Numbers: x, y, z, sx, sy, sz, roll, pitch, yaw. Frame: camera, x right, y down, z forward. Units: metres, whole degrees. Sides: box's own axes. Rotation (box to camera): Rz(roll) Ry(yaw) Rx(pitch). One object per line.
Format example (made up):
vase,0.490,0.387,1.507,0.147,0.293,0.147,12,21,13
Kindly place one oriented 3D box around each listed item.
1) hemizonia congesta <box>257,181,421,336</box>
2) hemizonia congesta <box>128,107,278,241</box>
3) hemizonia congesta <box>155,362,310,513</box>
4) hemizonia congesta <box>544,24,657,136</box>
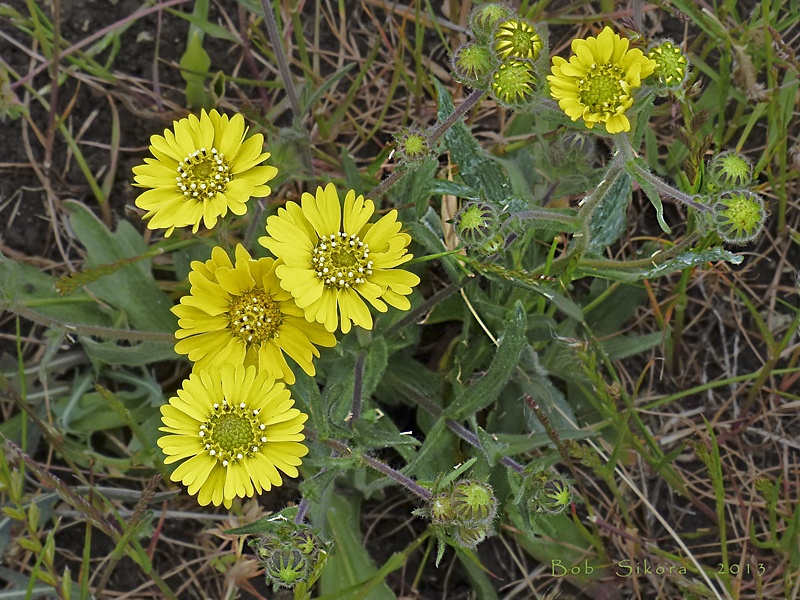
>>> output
hemizonia congesta,-0.255,-0.192,3.259,0.612,0.180,0.657,-23,87,-6
hemizonia congesta,-0.857,-0.555,3.464,0.506,0.772,0.667,-2,103,-12
hemizonia congesta,-0.726,0.572,3.230,0.647,0.178,0.592,-18,86,-6
hemizonia congesta,0.861,-0.956,3.198,0.401,0.201,0.502,11,90,20
